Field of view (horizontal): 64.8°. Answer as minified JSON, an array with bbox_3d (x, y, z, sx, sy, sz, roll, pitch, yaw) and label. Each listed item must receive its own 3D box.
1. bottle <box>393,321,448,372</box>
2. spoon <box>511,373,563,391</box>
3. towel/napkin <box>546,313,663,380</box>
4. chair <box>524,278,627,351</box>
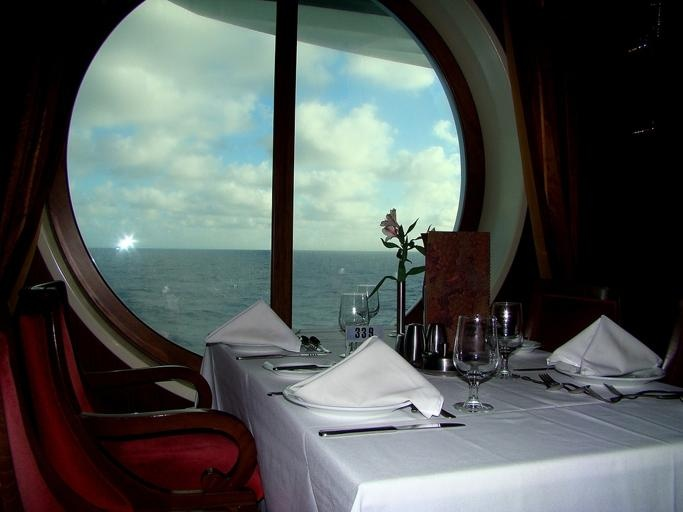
[{"bbox_3d":[0.279,0.332,1.866,0.170,0.192,0.107,1,-4,10],"label":"bottle"},{"bbox_3d":[0.614,0.402,1.698,0.112,0.019,0.021,8,27,13],"label":"spoon"},{"bbox_3d":[0.842,0.265,1.706,0.239,0.126,0.214,0,-4,-7],"label":"towel/napkin"},{"bbox_3d":[1.025,0.238,2.403,0.282,0.452,0.322,4,-3,16],"label":"chair"}]
